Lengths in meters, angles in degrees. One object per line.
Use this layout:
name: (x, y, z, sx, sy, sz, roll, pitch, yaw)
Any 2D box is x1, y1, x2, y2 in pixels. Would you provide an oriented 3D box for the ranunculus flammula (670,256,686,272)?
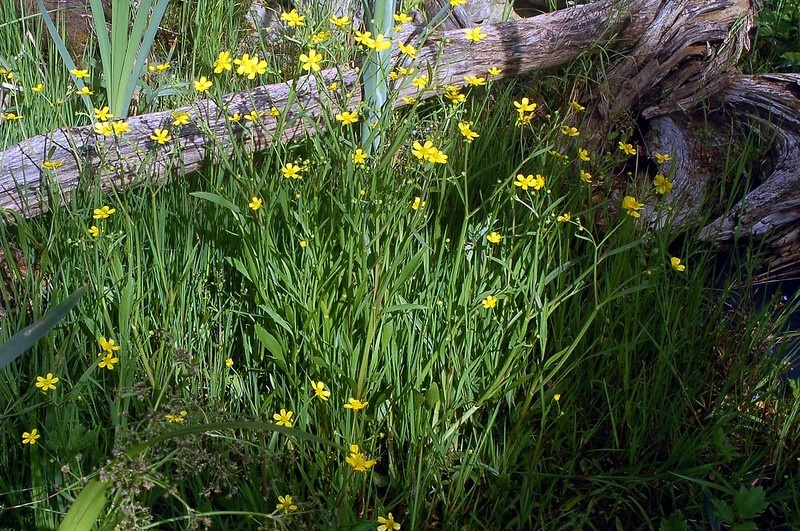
ranunculus flammula: (0.909, -0.003, 2.212, 0.045, 0.053, 0.024, 20, -26, -28)
